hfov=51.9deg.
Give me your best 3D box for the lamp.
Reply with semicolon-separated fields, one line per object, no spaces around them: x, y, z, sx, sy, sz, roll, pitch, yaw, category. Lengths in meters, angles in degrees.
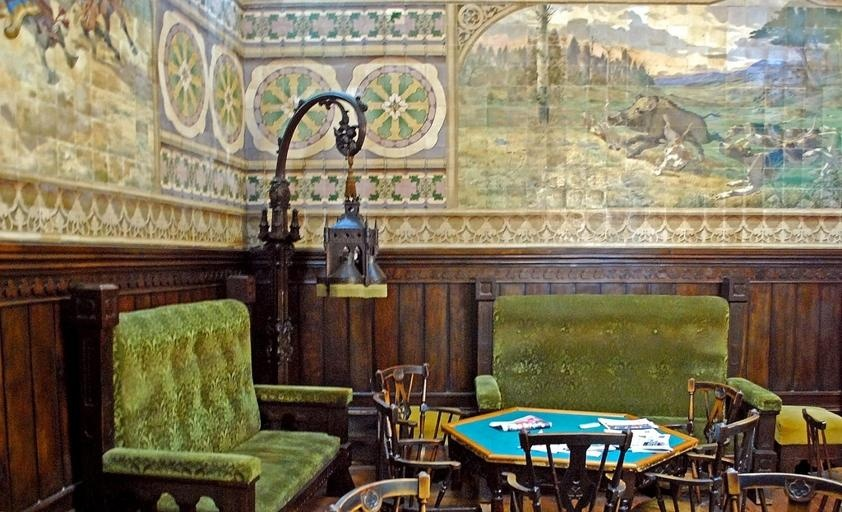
-0.611;-0.253;7.372;0.577;1.200;0.342;-1;2;-8;lamp
